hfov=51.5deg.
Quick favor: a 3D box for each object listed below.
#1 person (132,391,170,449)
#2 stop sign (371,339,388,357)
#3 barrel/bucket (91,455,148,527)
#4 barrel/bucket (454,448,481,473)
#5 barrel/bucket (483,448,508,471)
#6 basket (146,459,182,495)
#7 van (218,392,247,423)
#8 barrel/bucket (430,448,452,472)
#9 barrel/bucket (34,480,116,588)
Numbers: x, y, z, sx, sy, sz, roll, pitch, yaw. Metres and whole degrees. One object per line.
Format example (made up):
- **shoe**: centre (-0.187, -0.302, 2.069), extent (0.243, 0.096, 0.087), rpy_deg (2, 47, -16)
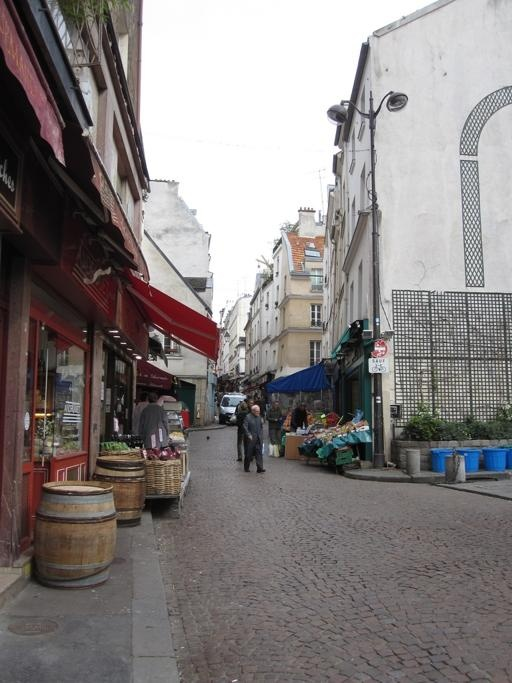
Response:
- **person**: centre (-1.925, 1.452, 9.927), extent (0.563, 1.046, 2.129), rpy_deg (2, -10, -12)
- **stop sign**: centre (3.429, 0.181, 14.706), extent (0.380, 0.612, 0.088), rpy_deg (3, -8, -3)
- **barrel/bucket**: centre (-1.723, 1.915, 6.937), extent (0.825, 1.055, 0.953), rpy_deg (1, -5, -4)
- **barrel/bucket**: centre (5.424, 3.008, 13.419), extent (0.732, 0.578, 0.343), rpy_deg (6, -10, -31)
- **barrel/bucket**: centre (6.184, 3.067, 13.798), extent (0.508, 0.474, 0.545), rpy_deg (3, -12, 1)
- **basket**: centre (-1.325, 1.995, 7.772), extent (0.453, 0.417, 0.473), rpy_deg (-5, -8, 38)
- **van**: centre (-1.809, 4.858, 40.714), extent (2.308, 2.647, 4.636), rpy_deg (0, -9, -3)
- **barrel/bucket**: centre (4.752, 3.008, 13.570), extent (0.561, 0.549, 0.590), rpy_deg (4, -11, 1)
- **barrel/bucket**: centre (-1.447, 1.466, 4.319), extent (0.659, 0.781, 0.648), rpy_deg (1, -4, 0)
